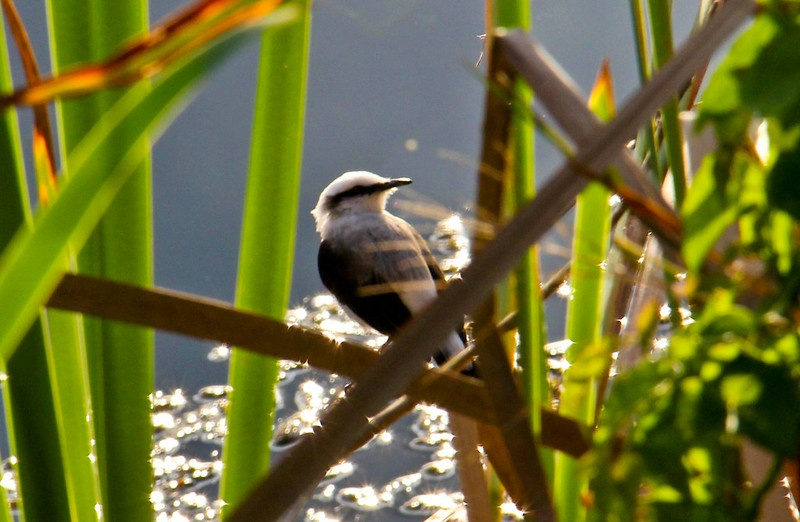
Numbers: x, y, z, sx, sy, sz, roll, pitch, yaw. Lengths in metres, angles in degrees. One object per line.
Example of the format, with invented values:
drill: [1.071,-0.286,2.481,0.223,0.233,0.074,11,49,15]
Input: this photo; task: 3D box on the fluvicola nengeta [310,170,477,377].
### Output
fluvicola nengeta: [0.002,0.028,1.699,0.145,0.409,0.272,-11,-72,-30]
